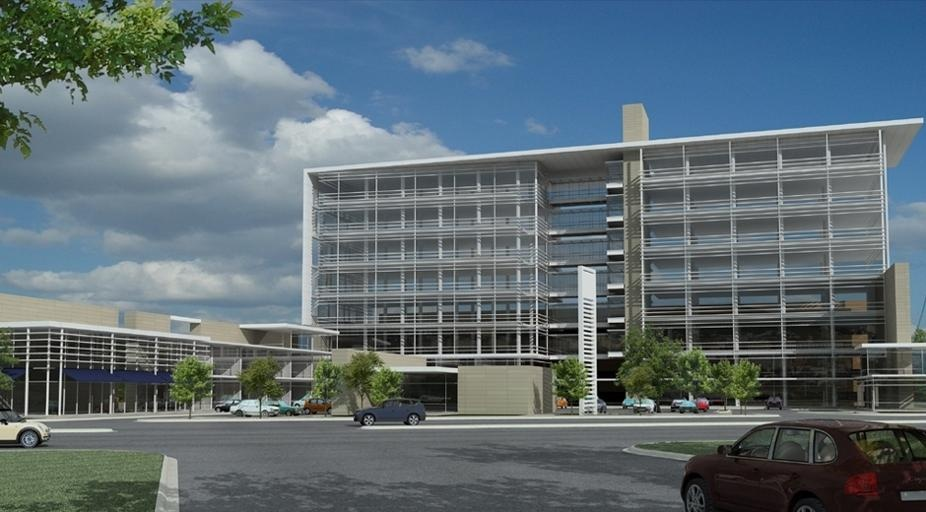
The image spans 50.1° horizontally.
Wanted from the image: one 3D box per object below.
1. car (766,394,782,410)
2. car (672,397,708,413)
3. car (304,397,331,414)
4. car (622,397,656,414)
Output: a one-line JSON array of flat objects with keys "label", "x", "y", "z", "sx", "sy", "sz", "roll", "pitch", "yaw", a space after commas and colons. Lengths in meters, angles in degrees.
[{"label": "car", "x": 31.159, "y": 14.948, "z": 100.181, "sx": 1.386, "sy": 0.745, "sz": 1.882, "roll": -2, "pitch": -13, "yaw": 7}, {"label": "car", "x": 22.145, "y": 14.666, "z": 97.443, "sx": 3.989, "sy": 1.379, "sz": 2.577, "roll": 3, "pitch": -11, "yaw": -18}, {"label": "car", "x": -13.669, "y": 14.204, "z": 93.200, "sx": 2.671, "sy": 0.962, "sz": 1.419, "roll": -3, "pitch": -5, "yaw": 5}, {"label": "car", "x": 17.356, "y": 14.571, "z": 96.422, "sx": 1.916, "sy": 0.916, "sz": 3.483, "roll": -1, "pitch": -16, "yaw": 6}]
